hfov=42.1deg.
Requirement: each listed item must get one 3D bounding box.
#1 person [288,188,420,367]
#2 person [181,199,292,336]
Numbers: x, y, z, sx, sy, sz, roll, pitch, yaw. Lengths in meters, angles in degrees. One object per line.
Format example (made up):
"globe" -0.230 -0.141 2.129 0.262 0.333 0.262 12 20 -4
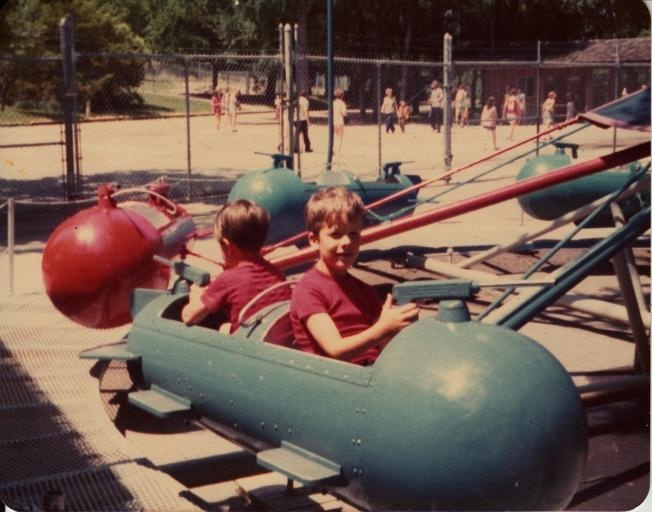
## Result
"person" 0.177 0.126 4.376 0.746 0.926 0.651 3 10 38
"person" -0.519 0.088 4.850 0.638 0.764 0.527 1 13 8
